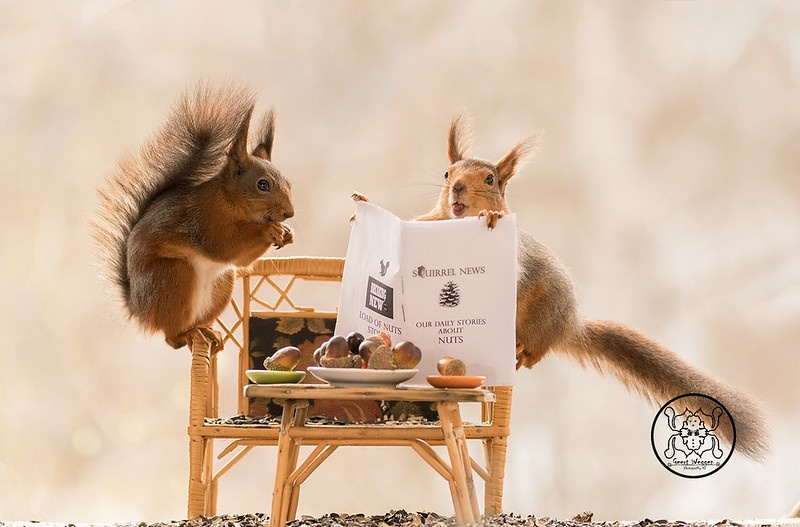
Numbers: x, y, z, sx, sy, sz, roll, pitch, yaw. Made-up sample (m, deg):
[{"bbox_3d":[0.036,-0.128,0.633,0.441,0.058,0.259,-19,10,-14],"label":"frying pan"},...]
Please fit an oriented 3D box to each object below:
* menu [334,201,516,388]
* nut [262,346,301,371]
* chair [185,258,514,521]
[{"bbox_3d":[0.185,0.248,8.825,1.128,1.217,0.122,3,-7,14],"label":"menu"},{"bbox_3d":[-0.796,0.633,8.591,0.197,0.151,0.124,-35,-60,-3],"label":"nut"},{"bbox_3d":[-0.392,0.902,9.341,1.926,2.859,1.996,1,-16,-3],"label":"chair"}]
